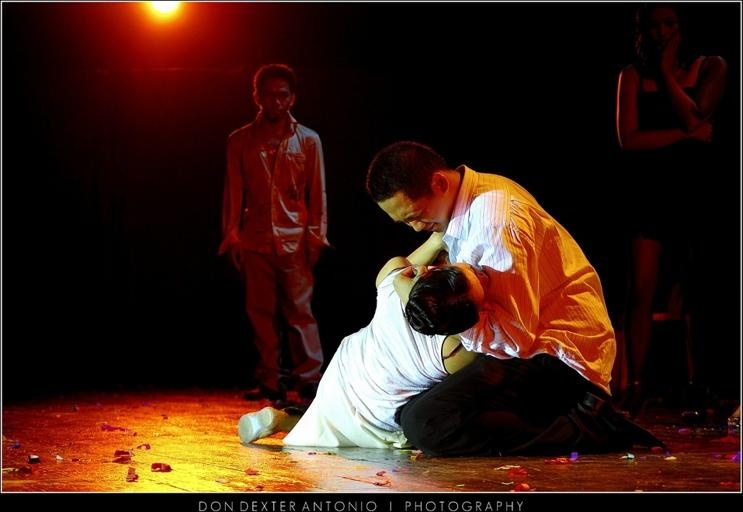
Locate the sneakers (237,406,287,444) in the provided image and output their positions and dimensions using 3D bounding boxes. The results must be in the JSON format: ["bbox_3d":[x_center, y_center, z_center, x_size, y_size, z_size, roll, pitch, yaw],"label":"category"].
[{"bbox_3d":[-0.525,0.806,3.460,0.243,0.132,0.111,-17,-12,12],"label":"sneakers"}]

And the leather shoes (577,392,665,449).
[{"bbox_3d":[1.093,0.770,3.282,0.346,0.244,0.123,43,-15,-5],"label":"leather shoes"}]
